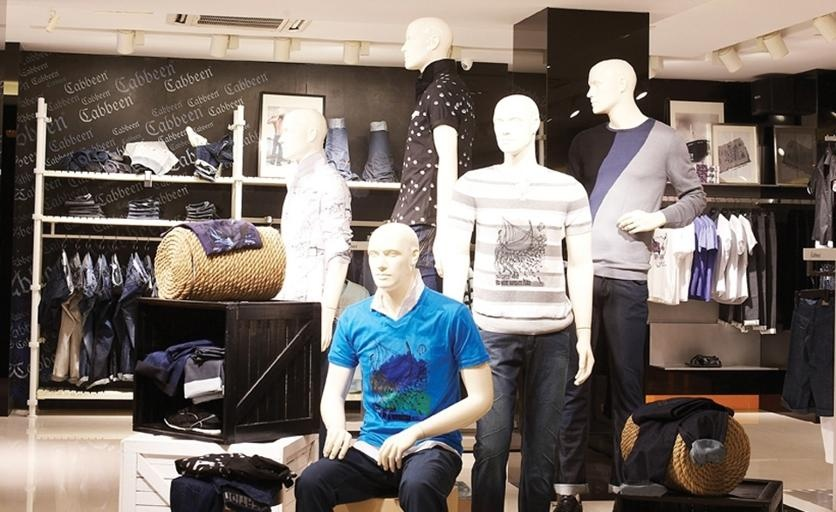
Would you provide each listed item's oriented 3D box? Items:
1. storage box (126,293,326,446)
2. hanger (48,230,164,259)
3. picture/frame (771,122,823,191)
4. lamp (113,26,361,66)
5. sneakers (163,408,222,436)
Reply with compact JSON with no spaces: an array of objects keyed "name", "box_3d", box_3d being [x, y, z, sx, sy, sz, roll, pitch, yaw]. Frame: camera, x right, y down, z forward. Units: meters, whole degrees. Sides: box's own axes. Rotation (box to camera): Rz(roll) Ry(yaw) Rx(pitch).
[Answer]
[{"name":"storage box","box_3d":[-1.427,0.833,6.127,1.131,0.958,1.116,-7,-9,41]},{"name":"hanger","box_3d":[-3.258,-0.202,8.812,1.312,0.197,0.101,-1,14,-2]},{"name":"picture/frame","box_3d":[4.151,-1.079,9.130,0.738,1.012,0.042,3,-4,-12]},{"name":"lamp","box_3d":[-1.717,-2.076,8.378,2.424,0.232,0.756,1,6,-5]},{"name":"sneakers","box_3d":[-1.529,1.124,5.808,0.405,0.187,0.161,9,-8,11]}]
